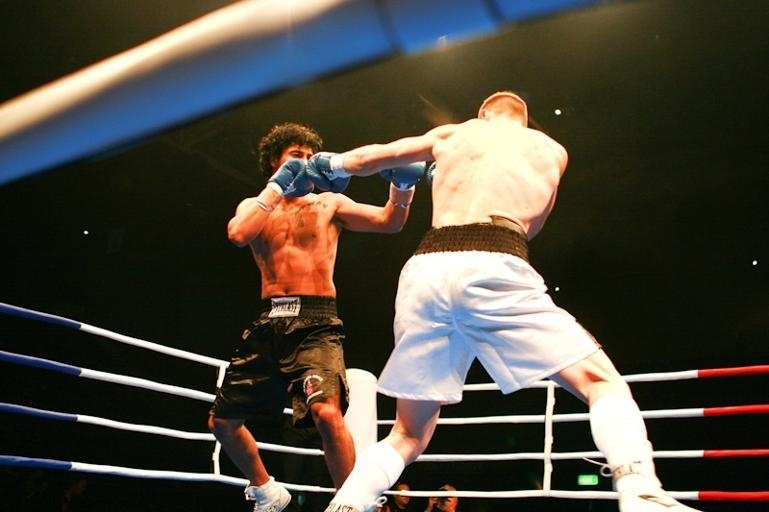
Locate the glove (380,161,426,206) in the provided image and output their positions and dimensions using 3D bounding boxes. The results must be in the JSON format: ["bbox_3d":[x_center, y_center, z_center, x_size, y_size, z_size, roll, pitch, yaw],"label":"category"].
[{"bbox_3d":[0.170,-0.735,6.570,0.358,0.167,0.274,4,-6,18],"label":"glove"}]
